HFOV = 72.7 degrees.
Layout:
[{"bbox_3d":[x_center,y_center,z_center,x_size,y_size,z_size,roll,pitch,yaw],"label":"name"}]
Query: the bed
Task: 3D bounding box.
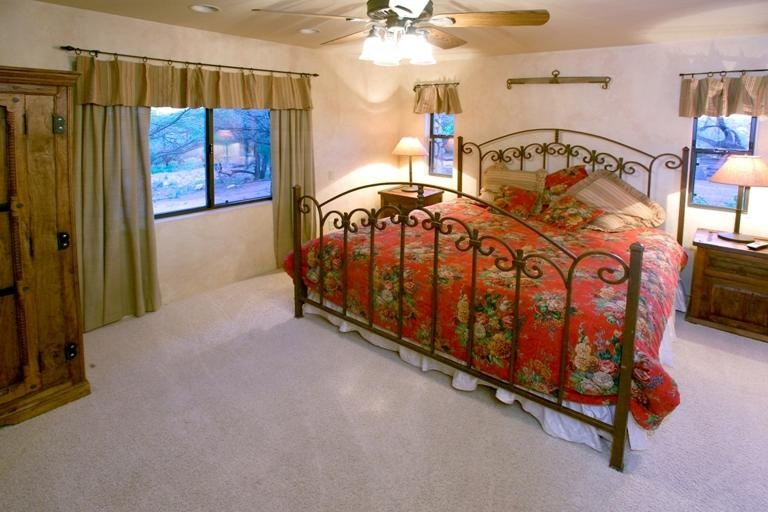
[{"bbox_3d":[1.139,-0.109,5.079,3.322,2.140,2.988,9,18,30],"label":"bed"}]
